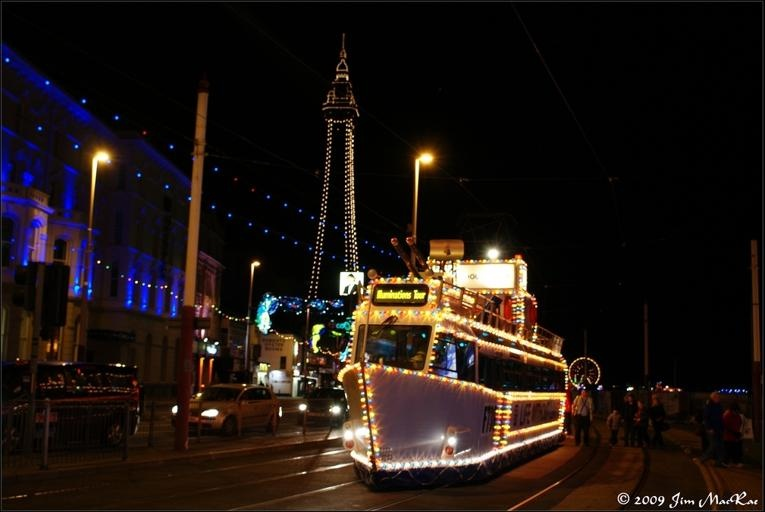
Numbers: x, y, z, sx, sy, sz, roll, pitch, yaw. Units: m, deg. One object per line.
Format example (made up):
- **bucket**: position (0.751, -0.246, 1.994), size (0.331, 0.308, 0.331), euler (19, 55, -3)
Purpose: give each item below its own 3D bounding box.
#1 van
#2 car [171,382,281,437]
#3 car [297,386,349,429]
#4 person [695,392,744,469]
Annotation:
- **van**: position (-9.149, 4.468, 21.683), size (4.089, 2.022, 2.615), euler (12, -16, -42)
- **car**: position (-6.212, 6.275, 29.046), size (2.281, 2.015, 4.568), euler (-2, -7, 22)
- **car**: position (-2.802, 7.135, 34.159), size (2.035, 1.850, 3.700), euler (-1, -14, 5)
- **person**: position (10.481, 5.310, 22.027), size (1.172, 2.246, 0.839), euler (0, -6, 10)
